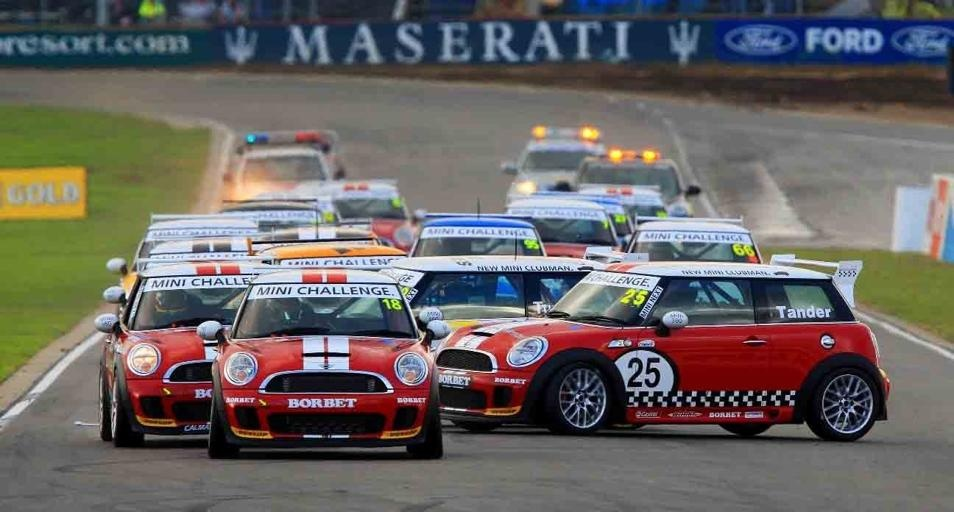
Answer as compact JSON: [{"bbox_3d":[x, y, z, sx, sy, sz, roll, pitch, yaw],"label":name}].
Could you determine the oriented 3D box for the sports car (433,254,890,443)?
[{"bbox_3d":[3.456,1.857,28.453,7.257,2.511,3.843,2,-2,-10],"label":"sports car"}]
